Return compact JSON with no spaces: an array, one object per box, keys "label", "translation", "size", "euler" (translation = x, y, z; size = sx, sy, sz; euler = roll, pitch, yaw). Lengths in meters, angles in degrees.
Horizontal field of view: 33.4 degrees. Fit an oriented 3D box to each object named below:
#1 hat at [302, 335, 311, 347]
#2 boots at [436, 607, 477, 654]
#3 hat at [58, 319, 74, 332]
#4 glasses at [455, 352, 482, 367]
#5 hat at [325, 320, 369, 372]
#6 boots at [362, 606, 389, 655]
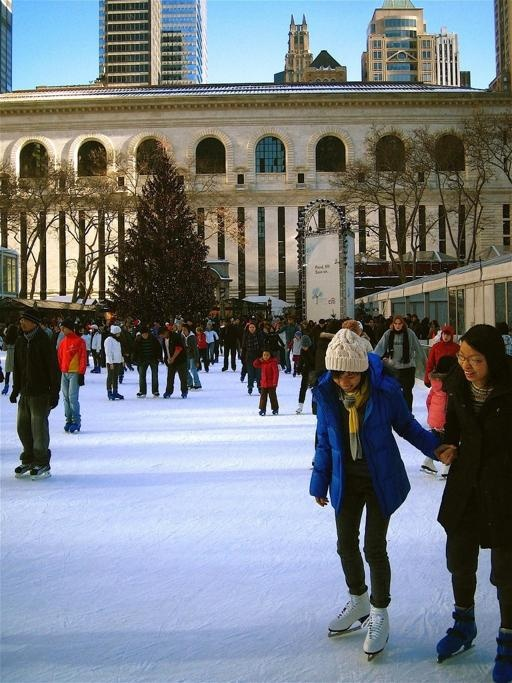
[{"label":"hat","translation":[0.852,-0.001,14.545],"size":[0.118,0.179,0.174],"euler":[1,12,16]},{"label":"boots","translation":[0.950,1.374,4.038],"size":[0.259,0.238,0.098],"euler":[-7,8,-35]},{"label":"hat","translation":[-2.522,-0.208,11.434],"size":[0.146,0.195,0.196],"euler":[8,21,-27]},{"label":"glasses","translation":[0.945,0.081,3.840],"size":[0.070,0.068,0.191],"euler":[-2,2,-11]},{"label":"hat","translation":[0.429,0.029,4.047],"size":[0.147,0.200,0.221],"euler":[0,11,11]},{"label":"boots","translation":[0.567,1.374,4.060],"size":[0.120,0.204,0.238],"euler":[-1,2,7]}]
